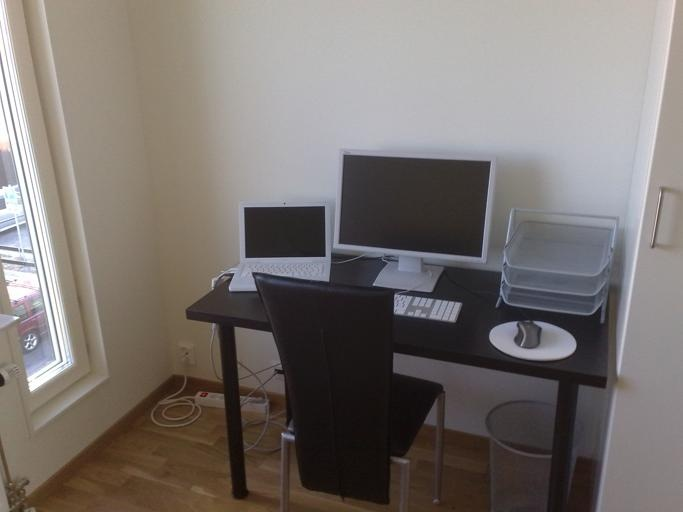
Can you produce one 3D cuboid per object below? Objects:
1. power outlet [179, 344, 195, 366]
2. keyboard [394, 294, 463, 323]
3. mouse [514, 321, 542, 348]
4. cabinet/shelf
[{"bbox_3d":[-0.874,0.550,3.038,0.106,0.119,0.028,13,15,15],"label":"power outlet"},{"bbox_3d":[0.333,0.198,2.115,0.255,0.018,0.103,10,44,23],"label":"keyboard"},{"bbox_3d":[0.656,0.270,1.895,0.090,0.064,0.105,10,21,21],"label":"mouse"},{"bbox_3d":[0.863,0.010,2.162,0.434,0.313,0.475,9,39,20],"label":"cabinet/shelf"}]
